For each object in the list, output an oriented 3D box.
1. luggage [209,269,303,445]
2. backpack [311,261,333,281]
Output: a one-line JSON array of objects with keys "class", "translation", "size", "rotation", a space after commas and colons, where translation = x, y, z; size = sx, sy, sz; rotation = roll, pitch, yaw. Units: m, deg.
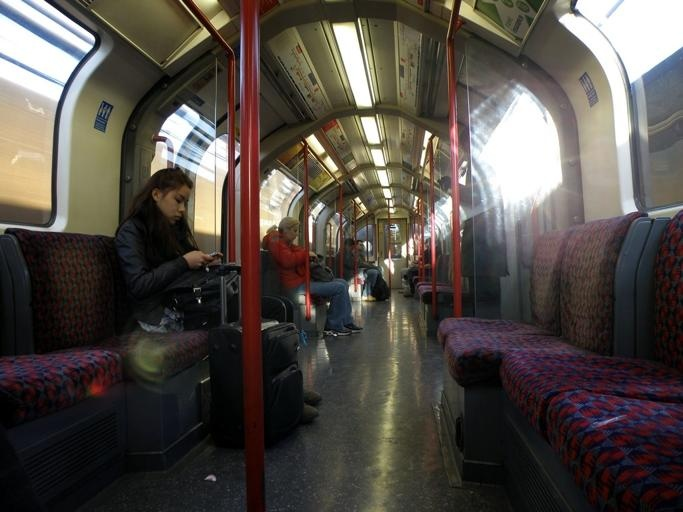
[{"class": "luggage", "translation": [-0.452, 0.538, 3.152], "size": [0.528, 1.195, 1.086], "rotation": [-2, -3, 10]}, {"class": "backpack", "translation": [-0.295, 0.238, 6.471], "size": [0.271, 0.155, 0.237], "rotation": [-1, -4, 9]}]
